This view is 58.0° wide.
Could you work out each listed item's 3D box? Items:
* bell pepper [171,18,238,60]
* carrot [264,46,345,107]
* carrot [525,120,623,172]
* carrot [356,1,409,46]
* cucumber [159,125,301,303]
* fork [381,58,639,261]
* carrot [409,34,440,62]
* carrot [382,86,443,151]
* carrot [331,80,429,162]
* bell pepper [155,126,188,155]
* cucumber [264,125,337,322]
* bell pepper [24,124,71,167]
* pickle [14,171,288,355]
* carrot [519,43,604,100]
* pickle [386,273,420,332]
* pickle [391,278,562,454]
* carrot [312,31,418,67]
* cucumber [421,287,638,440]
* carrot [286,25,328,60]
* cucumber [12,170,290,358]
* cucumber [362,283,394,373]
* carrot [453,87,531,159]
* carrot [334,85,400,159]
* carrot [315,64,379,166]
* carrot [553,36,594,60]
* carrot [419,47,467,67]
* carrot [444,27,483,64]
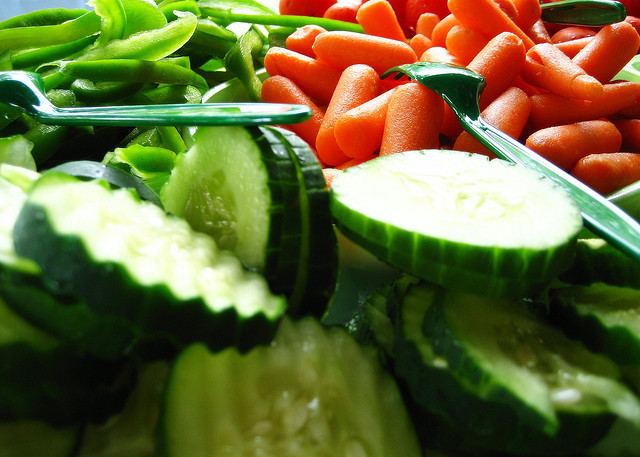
[{"bbox_3d":[-0.170,-0.272,0.851,0.090,0.057,0.021,16,44,-55],"label":"bell pepper"},{"bbox_3d":[-0.039,-0.218,0.791,0.146,0.044,0.046,26,52,26],"label":"carrot"},{"bbox_3d":[0.294,-0.093,0.671,0.127,0.052,0.057,-8,-1,-20],"label":"carrot"},{"bbox_3d":[0.084,-0.278,0.776,0.075,0.038,0.025,48,27,-16],"label":"carrot"},{"bbox_3d":[-0.058,-0.026,0.442,0.130,0.117,0.036,60,32,6],"label":"cucumber"},{"bbox_3d":[0.146,-0.092,0.582,0.083,0.034,0.384,18,22,-26],"label":"fork"},{"bbox_3d":[0.144,-0.257,0.806,0.042,0.022,0.043,-18,11,-16],"label":"carrot"},{"bbox_3d":[0.097,-0.115,0.611,0.043,0.088,0.029,7,4,-3],"label":"carrot"},{"bbox_3d":[0.078,-0.110,0.637,0.079,0.056,0.156,2,2,-22],"label":"carrot"},{"bbox_3d":[-0.159,-0.095,0.626,0.015,0.014,0.062,-12,50,-40],"label":"bell pepper"},{"bbox_3d":[-0.002,-0.003,0.435,0.032,0.118,0.112,-8,7,-32],"label":"cucumber"},{"bbox_3d":[-0.295,-0.090,0.622,0.021,0.063,0.044,38,32,12],"label":"bell pepper"},{"bbox_3d":[-0.126,0.059,0.423,0.167,0.043,0.123,33,22,-15],"label":"pickle"},{"bbox_3d":[0.277,-0.179,0.669,0.048,0.042,0.103,-38,41,-2],"label":"carrot"},{"bbox_3d":[0.063,0.055,0.438,0.009,0.038,0.036,13,67,-33],"label":"pickle"},{"bbox_3d":[0.092,0.117,0.422,0.097,0.035,0.134,-25,67,-32],"label":"pickle"},{"bbox_3d":[0.053,-0.214,0.712,0.129,0.034,0.044,16,47,10],"label":"carrot"},{"bbox_3d":[0.143,0.104,0.430,0.135,0.027,0.097,37,41,20],"label":"cucumber"},{"bbox_3d":[-0.024,-0.253,0.785,0.045,0.026,0.036,-18,26,15],"label":"carrot"},{"bbox_3d":[-0.116,0.024,0.387,0.172,0.051,0.125,37,12,-20],"label":"cucumber"},{"bbox_3d":[0.050,0.069,0.468,0.014,0.057,0.064,-4,4,10],"label":"cucumber"},{"bbox_3d":[0.201,-0.116,0.677,0.113,0.055,0.041,-30,48,-22],"label":"carrot"},{"bbox_3d":[0.060,-0.114,0.643,0.050,0.043,0.111,-18,35,-18],"label":"carrot"},{"bbox_3d":[0.031,-0.144,0.666,0.046,0.051,0.140,33,64,-13],"label":"carrot"},{"bbox_3d":[0.332,-0.237,0.757,0.040,0.014,0.043,-35,43,-2],"label":"carrot"},{"bbox_3d":[0.155,-0.217,0.724,0.026,0.017,0.054,-21,44,-36],"label":"carrot"},{"bbox_3d":[0.172,-0.226,0.715,0.027,0.024,0.055,-36,48,-13],"label":"carrot"}]
